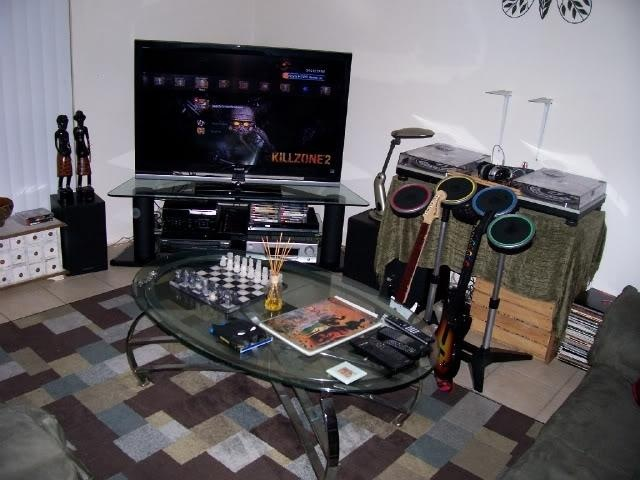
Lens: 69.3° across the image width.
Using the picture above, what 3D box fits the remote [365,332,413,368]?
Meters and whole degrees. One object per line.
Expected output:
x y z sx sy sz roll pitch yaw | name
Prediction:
0.324 0.593 2.427 0.188 0.057 0.315 -16 28 -38 | remote

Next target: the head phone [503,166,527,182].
1.493 -0.500 3.551 0.191 0.122 0.057 19 -7 22 | head phone

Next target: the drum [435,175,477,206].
0.983 -0.358 3.380 0.244 0.187 0.274 0 22 -6 | drum

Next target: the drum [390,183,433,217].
0.682 -0.286 3.520 0.295 0.247 0.282 3 22 1 | drum

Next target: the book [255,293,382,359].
0.006 0.474 2.675 0.635 0.048 0.463 -13 26 -35 | book

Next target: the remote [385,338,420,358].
0.428 0.571 2.445 0.075 0.031 0.140 -16 32 -39 | remote

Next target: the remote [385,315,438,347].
0.502 0.511 2.645 0.108 0.081 0.358 -11 25 -27 | remote

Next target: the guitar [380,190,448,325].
0.727 0.120 3.601 0.184 1.175 0.139 23 7 -10 | guitar

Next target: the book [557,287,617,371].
1.935 0.657 3.454 0.202 0.575 0.454 23 26 8 | book

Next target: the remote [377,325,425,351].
0.446 0.544 2.513 0.102 0.030 0.189 -17 30 -38 | remote

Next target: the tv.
-0.753 -1.103 4.169 1.645 0.966 0.110 4 20 -9 | tv

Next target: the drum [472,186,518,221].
1.201 -0.203 3.194 0.316 0.116 0.380 5 46 24 | drum
